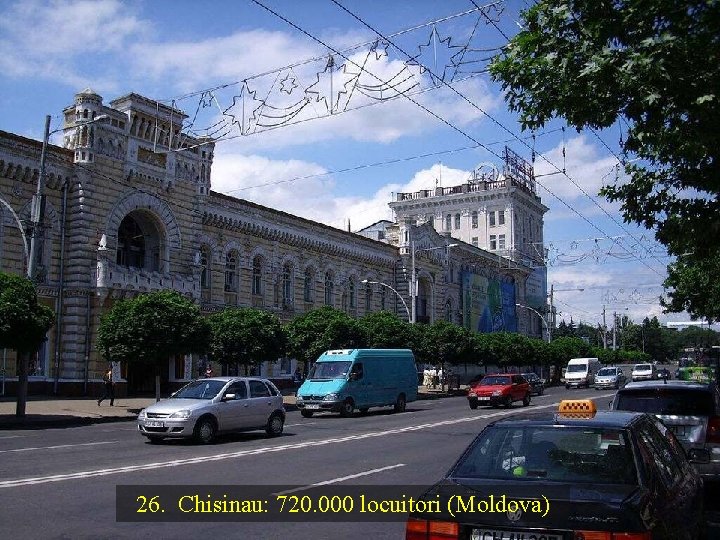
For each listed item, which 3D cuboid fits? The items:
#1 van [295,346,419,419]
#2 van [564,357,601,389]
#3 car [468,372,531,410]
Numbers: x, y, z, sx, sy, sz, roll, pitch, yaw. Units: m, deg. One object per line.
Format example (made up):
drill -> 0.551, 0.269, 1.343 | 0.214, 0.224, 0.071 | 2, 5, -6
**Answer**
van -> -0.007, 4.589, 30.289 | 2.081, 2.427, 6.358 | -4, -2, 35
van -> 16.859, 8.023, 56.364 | 1.829, 2.368, 3.434 | -4, -2, 32
car -> 6.250, 5.301, 32.952 | 1.527, 1.101, 2.646 | -8, -17, 27
